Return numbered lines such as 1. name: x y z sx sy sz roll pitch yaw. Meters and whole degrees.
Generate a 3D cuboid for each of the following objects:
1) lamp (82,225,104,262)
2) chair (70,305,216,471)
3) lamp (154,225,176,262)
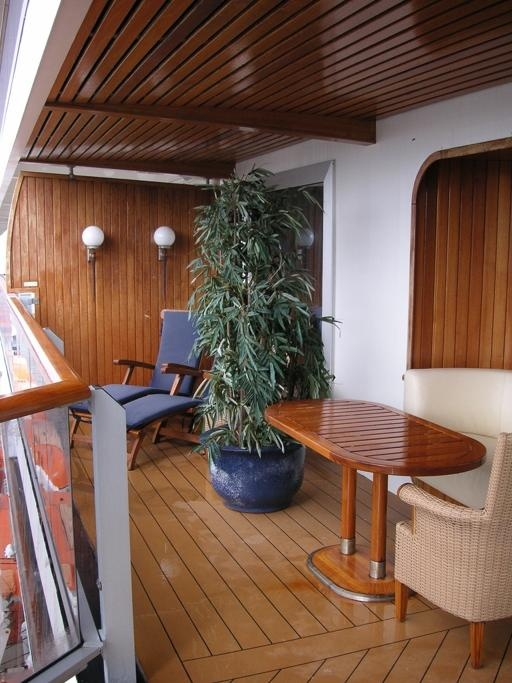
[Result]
1. lamp: -1.697 -1.019 5.346 0.240 0.358 0.228 -1 4 -20
2. chair: -1.111 0.308 4.643 1.058 1.436 1.675 4 9 35
3. lamp: -0.997 -1.076 5.667 0.261 0.361 0.225 -1 4 -22
